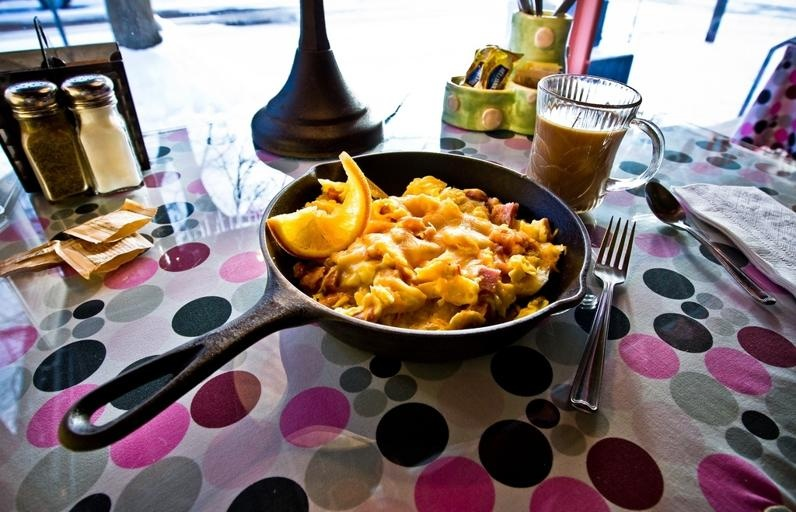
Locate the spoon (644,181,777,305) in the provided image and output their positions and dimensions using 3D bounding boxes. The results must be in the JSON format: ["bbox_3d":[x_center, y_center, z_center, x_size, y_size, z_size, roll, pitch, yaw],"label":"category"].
[{"bbox_3d":[0.805,-0.048,1.418,0.100,0.071,0.489,-3,46,-19],"label":"spoon"}]

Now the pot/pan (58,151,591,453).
[{"bbox_3d":[-0.045,0.081,1.065,0.918,0.125,0.663,-26,46,-30],"label":"pot/pan"}]
